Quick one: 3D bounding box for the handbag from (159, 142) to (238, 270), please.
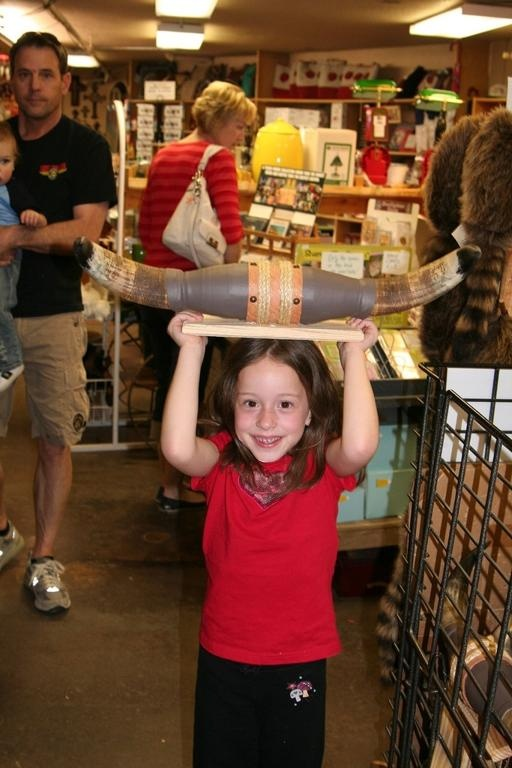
[{"bbox_3d":[-0.249,-0.753,2.505,0.271,0.510,0.151,2,11,-4],"label":"handbag"}]

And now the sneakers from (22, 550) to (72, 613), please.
[{"bbox_3d":[-0.747,0.713,2.137,0.116,0.107,0.237,-3,16,-33],"label":"sneakers"}]
